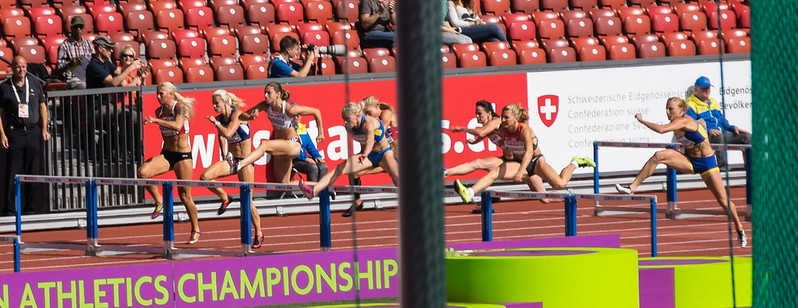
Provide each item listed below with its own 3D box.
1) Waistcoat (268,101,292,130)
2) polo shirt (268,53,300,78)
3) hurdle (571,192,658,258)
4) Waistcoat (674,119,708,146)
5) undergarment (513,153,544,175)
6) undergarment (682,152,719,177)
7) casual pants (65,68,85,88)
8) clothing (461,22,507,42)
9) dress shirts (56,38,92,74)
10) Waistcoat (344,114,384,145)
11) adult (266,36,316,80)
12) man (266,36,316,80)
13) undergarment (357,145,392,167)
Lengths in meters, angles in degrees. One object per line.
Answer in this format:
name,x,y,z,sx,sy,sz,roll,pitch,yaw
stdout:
Waistcoat,-3.538,-1.135,36.995,0.801,0.795,0.558,9,32,27
polo shirt,-3.558,-2.653,38.471,1.021,0.807,0.618,-5,29,-4
hurdle,6.098,2.060,35.397,2.617,1.066,0.257,0,-2,-6
Waistcoat,8.567,-0.621,36.458,0.959,0.577,0.832,-17,6,-12
undergarment,3.854,0.296,37.481,0.726,0.698,0.681,-3,33,2
undergarment,8.798,0.285,36.286,1.030,0.557,0.577,-12,2,33
casual pants,-9.905,-2.321,38.148,0.556,0.720,0.543,-3,1,-15
clothing,2.793,-3.909,40.904,1.676,0.470,0.585,8,14,5
dress shirts,-10.021,-2.973,38.474,1.421,1.032,0.709,3,-14,-16
Waistcoat,-0.821,-0.612,36.370,1.094,0.643,1.036,16,34,40
adult,-3.339,-2.786,38.762,1.860,1.511,1.250,1,26,-4
man,-3.305,-3.037,38.704,1.816,1.202,1.209,-7,22,-20
undergarment,-0.633,0.086,36.603,0.624,0.218,0.701,-5,-20,-22
